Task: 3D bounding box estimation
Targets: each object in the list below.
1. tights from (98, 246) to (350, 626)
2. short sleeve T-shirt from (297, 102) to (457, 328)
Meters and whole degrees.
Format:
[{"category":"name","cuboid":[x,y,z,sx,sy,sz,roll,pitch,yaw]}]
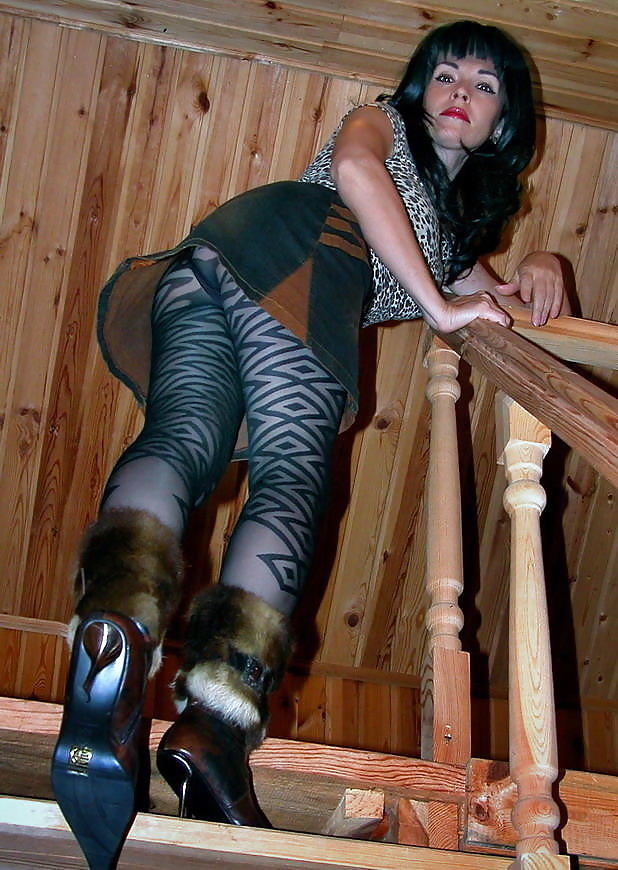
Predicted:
[{"category":"tights","cuboid":[-0.092,0.024,0.990,0.230,0.547,0.167,10,2,15]},{"category":"short sleeve T-shirt","cuboid":[0.118,-0.347,1.203,0.251,0.298,0.429,13,27,0]}]
